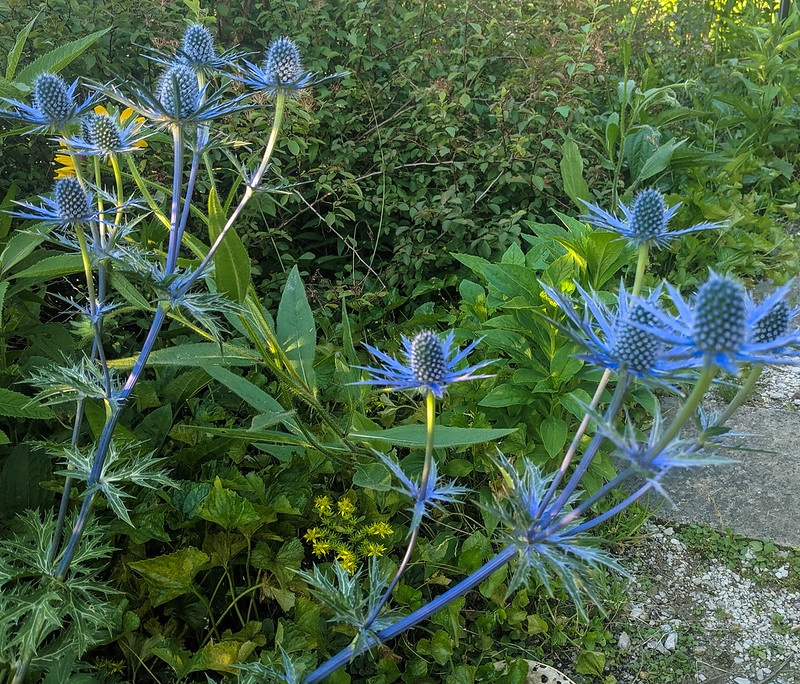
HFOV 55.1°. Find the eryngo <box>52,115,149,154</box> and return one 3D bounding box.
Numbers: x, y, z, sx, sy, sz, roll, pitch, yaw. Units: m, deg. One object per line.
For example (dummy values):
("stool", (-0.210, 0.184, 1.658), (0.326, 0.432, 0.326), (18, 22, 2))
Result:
("eryngo", (-0.872, -0.615, 2.263), (0.203, 0.097, 0.199), (-21, 39, -34))

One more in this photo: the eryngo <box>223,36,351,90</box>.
("eryngo", (-0.372, -0.790, 2.383), (0.326, 0.277, 0.260), (-6, 20, -25))

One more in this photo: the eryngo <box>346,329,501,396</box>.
("eryngo", (0.090, 0.054, 2.079), (0.359, 0.170, 0.361), (-1, 4, 7))

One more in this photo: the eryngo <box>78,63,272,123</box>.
("eryngo", (-0.607, -0.686, 2.186), (0.302, 0.139, 0.306), (7, 11, 28))
